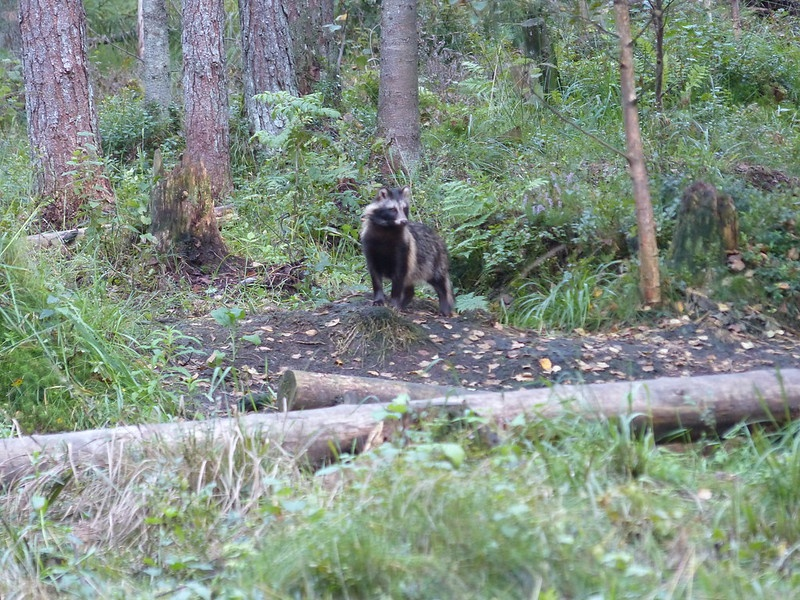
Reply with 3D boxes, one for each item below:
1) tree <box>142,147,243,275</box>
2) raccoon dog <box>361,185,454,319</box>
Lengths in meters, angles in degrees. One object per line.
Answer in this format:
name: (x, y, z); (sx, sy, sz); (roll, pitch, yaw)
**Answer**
tree: (-2.191, -1.003, 9.141); (0.998, 1.114, 0.973); (7, 7, 11)
raccoon dog: (0.073, -0.494, 8.588); (0.882, 1.208, 0.721); (-4, 15, -7)
